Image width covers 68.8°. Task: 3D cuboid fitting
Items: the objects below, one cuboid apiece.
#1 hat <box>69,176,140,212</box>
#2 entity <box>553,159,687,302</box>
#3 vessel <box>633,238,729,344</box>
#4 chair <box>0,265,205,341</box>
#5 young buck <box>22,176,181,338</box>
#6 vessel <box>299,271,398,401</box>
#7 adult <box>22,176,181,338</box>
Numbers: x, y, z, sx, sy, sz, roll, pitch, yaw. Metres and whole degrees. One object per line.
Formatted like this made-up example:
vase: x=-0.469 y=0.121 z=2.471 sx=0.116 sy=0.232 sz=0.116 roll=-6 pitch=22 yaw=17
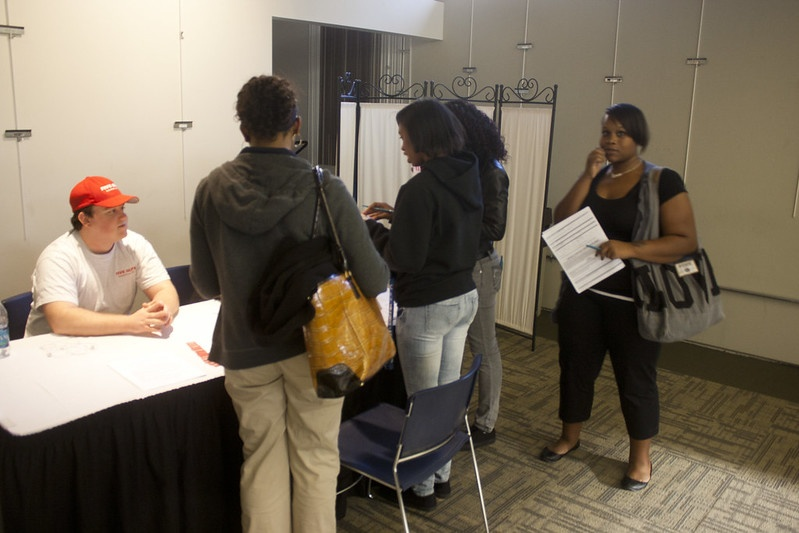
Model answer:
hat: x=-1.647 y=-0.393 z=3.237 sx=0.317 sy=0.173 sz=0.209 roll=-11 pitch=8 yaw=2
entity: x=1.271 y=-0.176 z=3.331 sx=0.318 sy=0.618 sz=0.624 roll=13 pitch=12 yaw=-33
vessel: x=1.567 y=0.165 z=3.283 sx=0.455 sy=0.451 sz=0.209 roll=-6 pitch=19 yaw=-10
chair: x=-1.832 y=0.122 z=3.624 sx=0.857 sy=0.514 sz=0.815 roll=-8 pitch=12 yaw=-19
young buck: x=-1.621 y=-0.062 z=3.429 sx=0.953 sy=0.948 sz=0.741 roll=10 pitch=11 yaw=35
vessel: x=-0.194 y=0.280 z=2.482 sx=0.399 sy=0.483 sz=0.150 roll=-13 pitch=21 yaw=-28
adult: x=-1.652 y=-0.006 z=3.295 sx=0.963 sy=0.962 sz=0.752 roll=12 pitch=12 yaw=32
